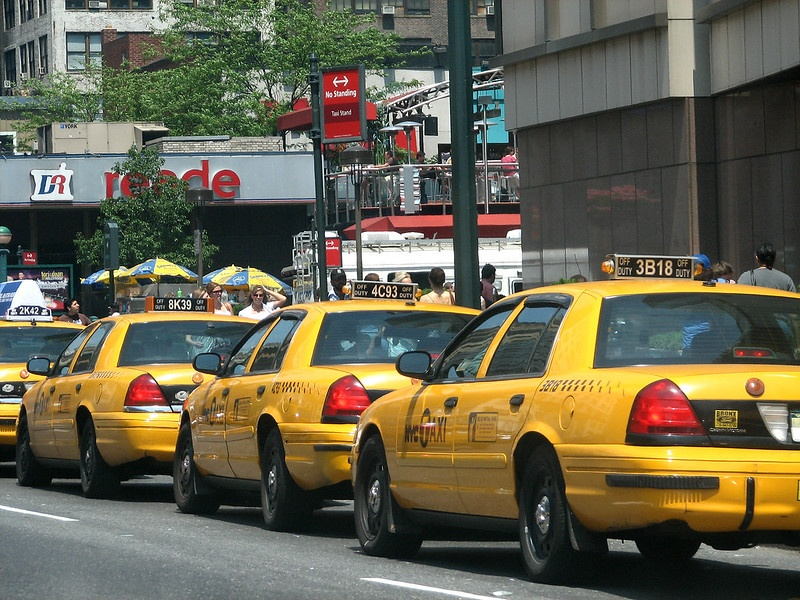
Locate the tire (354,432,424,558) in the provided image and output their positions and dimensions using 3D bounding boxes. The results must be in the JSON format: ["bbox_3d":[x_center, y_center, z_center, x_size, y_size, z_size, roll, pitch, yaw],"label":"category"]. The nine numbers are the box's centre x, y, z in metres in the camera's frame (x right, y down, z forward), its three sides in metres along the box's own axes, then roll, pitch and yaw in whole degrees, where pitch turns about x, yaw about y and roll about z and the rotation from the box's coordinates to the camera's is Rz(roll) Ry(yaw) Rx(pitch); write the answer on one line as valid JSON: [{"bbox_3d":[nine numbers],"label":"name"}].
[{"bbox_3d":[-0.057,1.447,10.272,0.333,0.966,0.977,2,-2,-28],"label":"tire"}]

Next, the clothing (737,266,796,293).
[{"bbox_3d":[3.777,-0.217,14.277,0.338,0.231,0.170,3,6,6],"label":"clothing"}]

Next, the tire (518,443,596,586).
[{"bbox_3d":[0.996,1.331,8.670,0.286,0.910,0.812,4,11,-19],"label":"tire"}]

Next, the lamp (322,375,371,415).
[{"bbox_3d":[-0.425,0.773,10.946,0.210,0.203,0.372,-1,4,-9],"label":"lamp"}]

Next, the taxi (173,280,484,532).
[{"bbox_3d":[-0.903,0.833,12.054,1.510,1.067,2.975,1,0,-24],"label":"taxi"}]

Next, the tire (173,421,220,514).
[{"bbox_3d":[-1.889,1.577,13.115,0.282,0.874,0.884,5,-10,-23],"label":"tire"}]

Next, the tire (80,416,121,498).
[{"bbox_3d":[-3.006,1.600,14.060,0.352,0.828,0.697,-2,3,-18],"label":"tire"}]

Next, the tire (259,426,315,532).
[{"bbox_3d":[-0.892,1.446,11.272,0.318,0.863,0.872,2,-7,-19],"label":"tire"}]

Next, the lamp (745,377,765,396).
[{"bbox_3d":[2.085,0.516,8.191,0.115,0.107,0.059,-1,3,8],"label":"lamp"}]

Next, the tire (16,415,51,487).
[{"bbox_3d":[-4.148,1.732,15.989,0.324,0.945,0.951,5,-28,-24],"label":"tire"}]

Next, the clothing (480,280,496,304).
[{"bbox_3d":[1.319,-0.125,20.909,0.338,0.353,0.195,4,6,24],"label":"clothing"}]
